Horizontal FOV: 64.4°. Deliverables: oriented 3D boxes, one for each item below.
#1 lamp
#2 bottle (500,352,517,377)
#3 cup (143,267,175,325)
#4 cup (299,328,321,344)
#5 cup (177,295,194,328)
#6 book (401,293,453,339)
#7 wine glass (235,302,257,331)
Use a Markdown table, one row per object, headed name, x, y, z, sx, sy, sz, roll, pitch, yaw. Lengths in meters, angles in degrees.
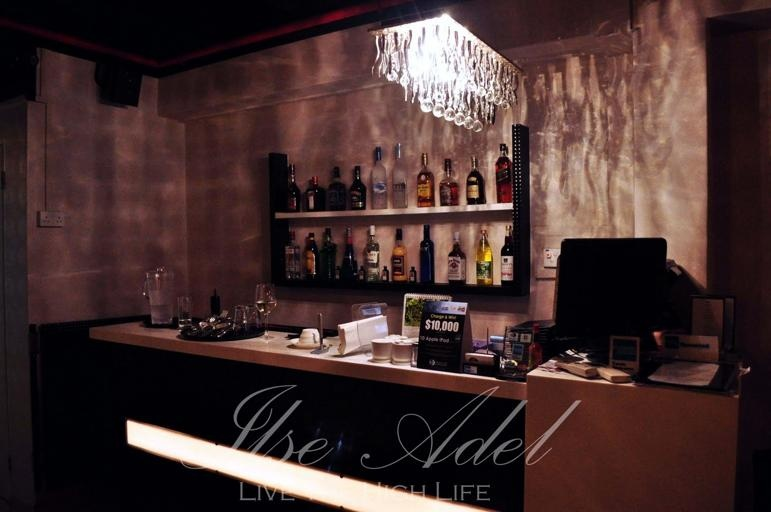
| name | x | y | z | sx | sy | sz | roll | pitch | yaw |
| --- | --- | --- | --- | --- | --- | --- | --- | --- | --- |
| lamp | 0.400 | -1.086 | 3.769 | 1.016 | 0.487 | 0.522 | -1 | 0 | -31 |
| bottle | 0.709 | 0.640 | 3.548 | 0.098 | 0.100 | 0.039 | -8 | -26 | 26 |
| cup | -1.751 | 0.317 | 4.735 | 0.199 | 0.433 | 0.324 | -1 | 0 | -23 |
| cup | -0.518 | 0.538 | 4.160 | 0.109 | 0.069 | 0.103 | 0 | 2 | 0 |
| cup | -1.457 | 0.411 | 4.457 | 0.081 | 0.215 | 0.080 | -1 | 0 | 0 |
| book | 0.266 | 0.383 | 3.863 | 0.275 | 0.293 | 0.062 | 0 | -6 | 21 |
| wine glass | -1.004 | 0.437 | 4.513 | 0.182 | 0.174 | 0.184 | 4 | 4 | 11 |
